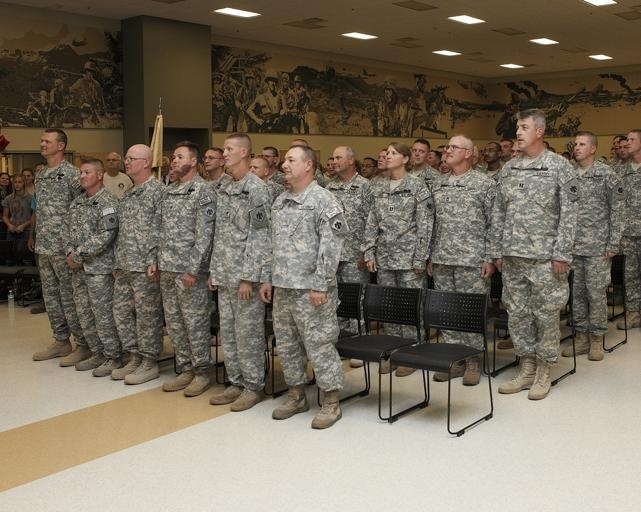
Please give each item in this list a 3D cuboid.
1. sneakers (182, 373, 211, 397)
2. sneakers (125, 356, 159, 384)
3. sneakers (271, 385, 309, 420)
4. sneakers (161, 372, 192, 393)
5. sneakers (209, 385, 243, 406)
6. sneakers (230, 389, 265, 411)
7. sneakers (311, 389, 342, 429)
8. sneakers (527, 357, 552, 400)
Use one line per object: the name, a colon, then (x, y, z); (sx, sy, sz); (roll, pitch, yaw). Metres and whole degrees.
sneakers: (-1.051, 1.124, 4.656); (0.112, 0.115, 0.288); (3, 0, 25)
sneakers: (-1.567, 1.075, 5.001); (0.372, 0.215, 0.141); (1, 0, -42)
sneakers: (-0.236, 1.143, 4.190); (0.125, 0.142, 0.388); (5, 6, 43)
sneakers: (-1.260, 1.120, 4.825); (0.129, 0.110, 0.330); (-1, 2, 43)
sneakers: (-0.795, 1.145, 4.450); (0.307, 0.100, 0.117); (-4, 0, -34)
sneakers: (-0.599, 1.156, 4.354); (0.108, 0.101, 0.294); (1, 3, 37)
sneakers: (0.056, 1.108, 3.982); (0.134, 0.240, 0.313); (4, 9, 36)
sneakers: (1.827, 1.024, 4.482); (0.159, 0.248, 0.449); (-2, 4, 32)
